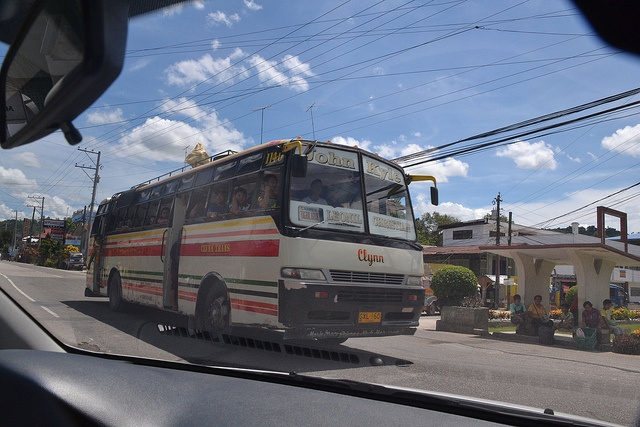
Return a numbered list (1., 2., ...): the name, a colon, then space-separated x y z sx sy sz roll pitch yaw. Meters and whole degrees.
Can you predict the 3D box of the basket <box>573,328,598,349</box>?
1. basket: 2.601 1.227 4.434 0.206 0.203 0.259 -5 -10 30
